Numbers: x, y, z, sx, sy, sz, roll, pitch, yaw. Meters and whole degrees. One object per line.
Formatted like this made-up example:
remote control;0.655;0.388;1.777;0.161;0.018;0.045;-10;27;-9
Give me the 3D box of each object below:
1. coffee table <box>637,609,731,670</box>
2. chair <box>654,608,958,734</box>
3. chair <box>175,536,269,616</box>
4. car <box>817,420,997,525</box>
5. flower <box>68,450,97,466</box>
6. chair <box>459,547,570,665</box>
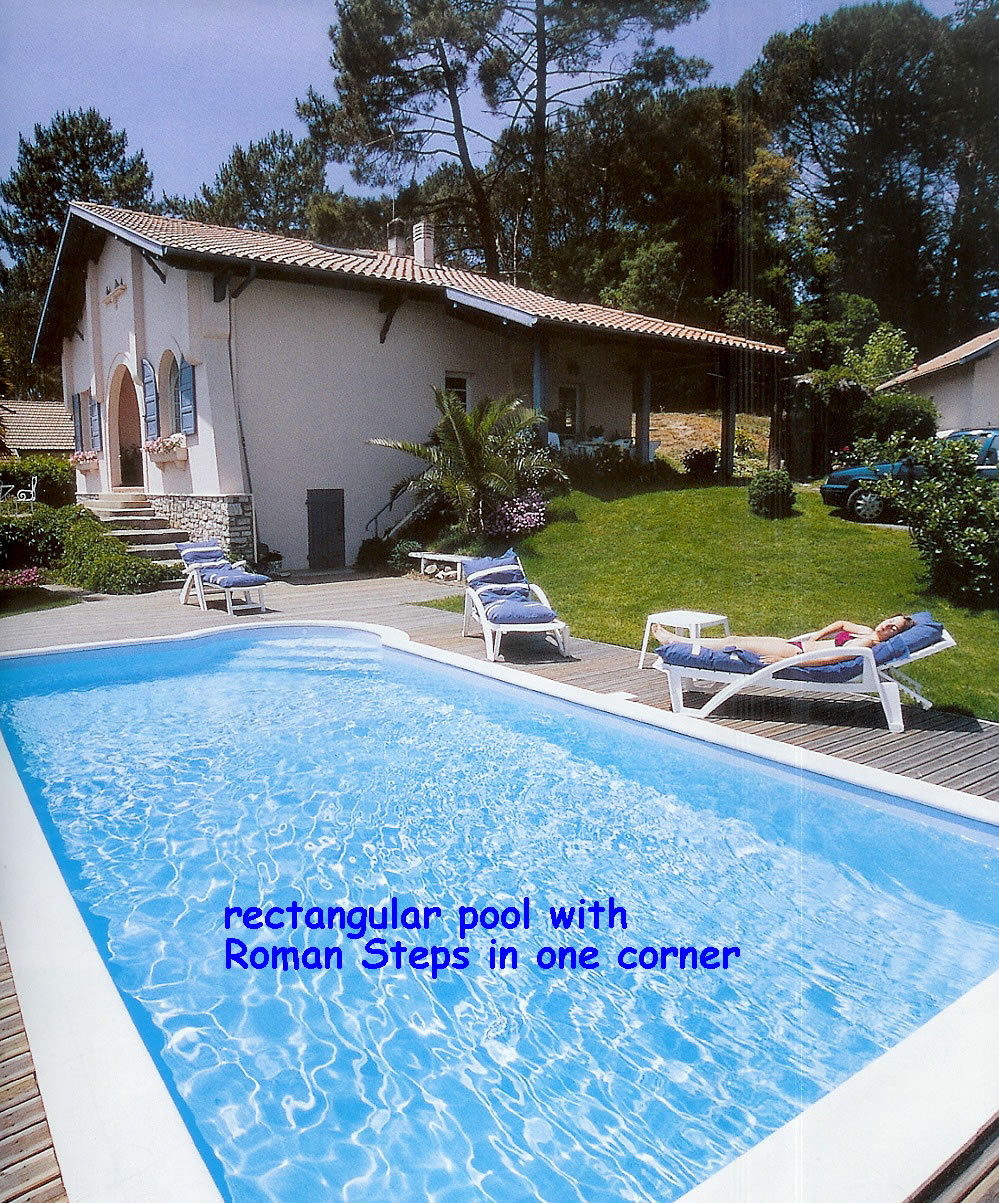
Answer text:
coffee table;1.727;0.364;7.820;0.710;0.552;0.722;4;6;44
chair;2.144;0.478;6.259;1.877;0.751;1.068;1;0;20
chair;-3.814;-0.369;11.945;1.022;1.070;1.689;-8;14;-39
car;5.186;-1.520;10.721;2.290;0.830;0.994;5;12;29
flower;-10.741;-3.724;21.626;0.620;0.321;0.640;-6;15;-30
chair;0.123;0.048;9.227;0.737;0.914;1.587;-5;12;-15
